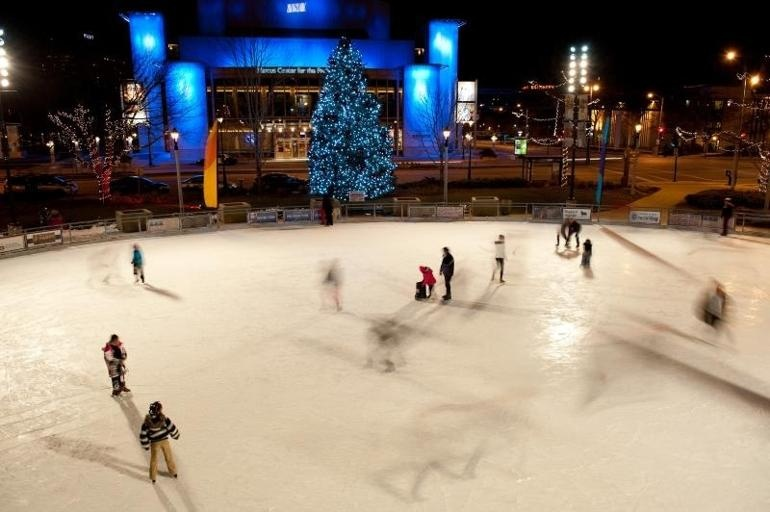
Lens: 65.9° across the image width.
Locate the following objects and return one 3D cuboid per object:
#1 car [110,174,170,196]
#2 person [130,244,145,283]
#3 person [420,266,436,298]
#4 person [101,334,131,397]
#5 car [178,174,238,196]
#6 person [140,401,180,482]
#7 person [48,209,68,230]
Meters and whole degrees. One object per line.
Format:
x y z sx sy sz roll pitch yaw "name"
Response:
-19.947 -5.479 48.505 4.462 1.415 1.991 -3 14 -12 "car"
-10.518 0.323 25.431 0.412 1.763 1.427 -6 11 -24 "person"
1.780 0.994 24.088 0.514 1.338 1.455 -1 10 6 "person"
-8.040 3.198 17.860 0.595 1.773 1.012 -6 11 -25 "person"
-14.344 -5.783 48.513 5.094 1.647 2.130 3 6 -7 "car"
-5.718 4.586 15.116 0.853 1.988 1.060 -6 11 -24 "person"
-17.942 -1.971 32.465 0.639 0.971 1.794 -8 11 -30 "person"
